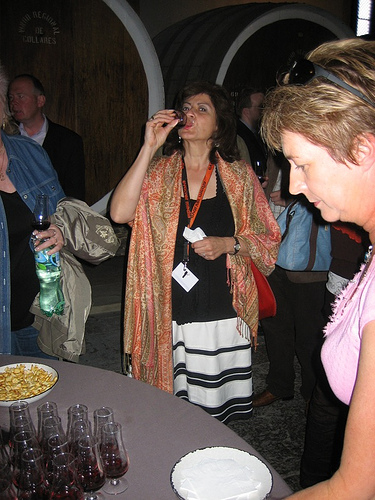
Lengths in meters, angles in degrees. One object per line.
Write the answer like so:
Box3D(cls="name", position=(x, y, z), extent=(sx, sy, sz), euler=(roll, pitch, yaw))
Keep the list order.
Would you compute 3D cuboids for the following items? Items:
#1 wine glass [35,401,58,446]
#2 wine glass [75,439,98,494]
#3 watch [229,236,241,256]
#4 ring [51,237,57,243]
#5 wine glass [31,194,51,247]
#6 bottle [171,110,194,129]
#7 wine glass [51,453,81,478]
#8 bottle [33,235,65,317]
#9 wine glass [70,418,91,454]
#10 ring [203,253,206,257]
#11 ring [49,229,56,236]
Box3D(cls="wine glass", position=(-0.318, 0.394, 0.942), extent=(0.053, 0.112, 0.045), euler=(-7, 49, -20))
Box3D(cls="wine glass", position=(-0.195, 0.427, 0.819), extent=(0.037, 0.113, 0.029), euler=(0, 14, -13))
Box3D(cls="watch", position=(0.244, -0.024, 2.090), extent=(0.046, 0.066, 0.067), euler=(1, -3, -37))
Box3D(cls="ring", position=(-0.552, -0.042, 1.719), extent=(0.026, 0.022, 0.025), euler=(0, 5, 0))
Box3D(cls="wine glass", position=(-0.586, -0.142, 1.665), extent=(0.065, 0.152, 0.097), euler=(-1, 14, -20))
Box3D(cls="bottle", position=(-0.023, -0.657, 2.107), extent=(0.115, 0.086, 0.067), euler=(2, 13, -8))
Box3D(cls="wine glass", position=(-0.215, 0.385, 0.730), extent=(0.039, 0.053, 0.032), euler=(0, 13, -15))
Box3D(cls="bottle", position=(-0.572, 0.130, 1.743), extent=(0.117, 0.319, 0.101), euler=(-4, 15, -28))
Box3D(cls="wine glass", position=(-0.222, 0.392, 0.885), extent=(0.046, 0.056, 0.043), euler=(-11, 21, -18))
Box3D(cls="ring", position=(0.077, 0.023, 1.935), extent=(0.011, 0.011, 0.011), euler=(4, 28, -2))
Box3D(cls="ring", position=(-0.560, -0.072, 1.723), extent=(0.031, 0.028, 0.008), euler=(-2, 3, -34))
